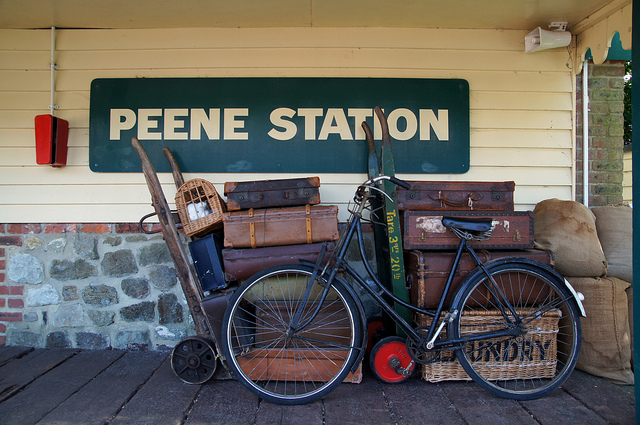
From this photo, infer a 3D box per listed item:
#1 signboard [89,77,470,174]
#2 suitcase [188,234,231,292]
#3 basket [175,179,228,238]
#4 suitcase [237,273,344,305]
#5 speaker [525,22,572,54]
[{"bbox_3d":[-0.500,-1.032,7.094,4.474,1.266,0.126,1,-14,5],"label":"signboard"},{"bbox_3d":[-1.161,0.517,6.602,0.514,0.544,0.156,-12,4,15],"label":"suitcase"},{"bbox_3d":[-1.272,-0.024,6.831,0.423,0.526,0.647,-22,-8,-4],"label":"basket"},{"bbox_3d":[-0.299,0.883,7.042,0.812,0.293,1.218,-1,-7,4],"label":"suitcase"},{"bbox_3d":[2.649,-1.956,6.927,0.260,0.359,0.427,-20,25,-37],"label":"speaker"}]
